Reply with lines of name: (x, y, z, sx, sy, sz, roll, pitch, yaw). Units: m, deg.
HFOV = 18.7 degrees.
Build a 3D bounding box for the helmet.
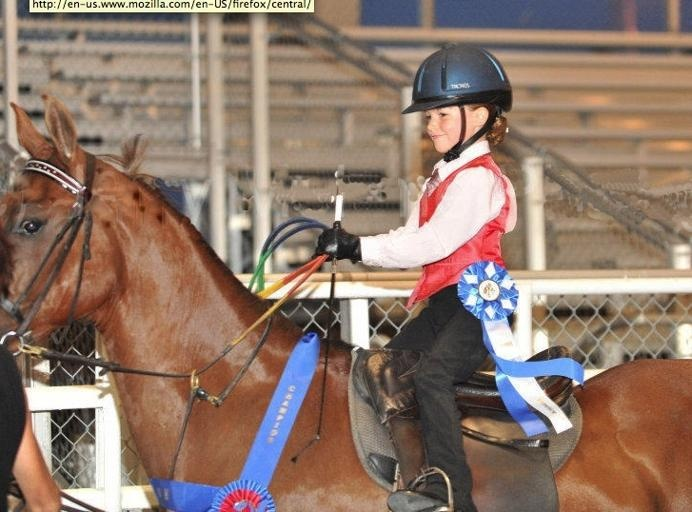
helmet: (0.533, -0.812, 9.704, 0.412, 0.245, 0.313, 2, -1, -17)
